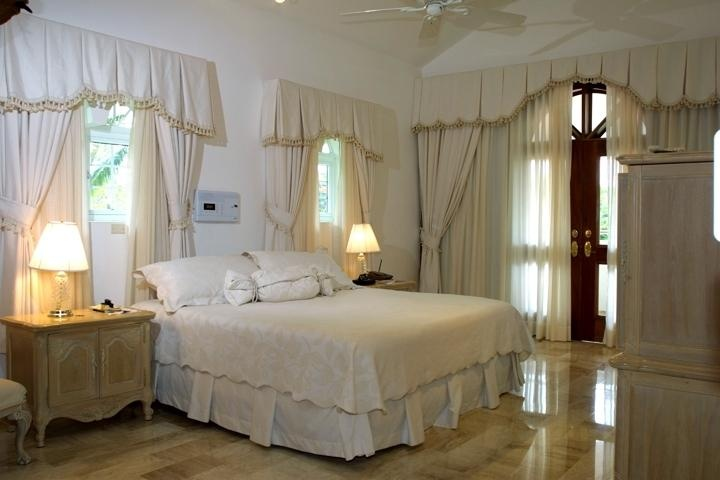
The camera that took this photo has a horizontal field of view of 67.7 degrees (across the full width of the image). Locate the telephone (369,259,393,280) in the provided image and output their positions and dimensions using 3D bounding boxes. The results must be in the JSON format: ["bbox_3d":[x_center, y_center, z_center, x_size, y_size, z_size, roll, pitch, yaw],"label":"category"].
[{"bbox_3d":[0.276,0.382,7.027,0.228,0.224,0.315,-2,0,11],"label":"telephone"}]

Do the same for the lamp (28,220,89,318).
[{"bbox_3d":[-2.635,0.258,4.746,0.468,0.888,0.456,3,14,-28],"label":"lamp"}]

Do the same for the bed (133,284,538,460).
[{"bbox_3d":[0.134,1.047,4.600,1.729,0.576,1.772,-2,-2,39],"label":"bed"}]

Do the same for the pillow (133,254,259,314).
[{"bbox_3d":[-1.458,0.369,5.101,0.749,0.191,0.580,-4,42,-47],"label":"pillow"}]
